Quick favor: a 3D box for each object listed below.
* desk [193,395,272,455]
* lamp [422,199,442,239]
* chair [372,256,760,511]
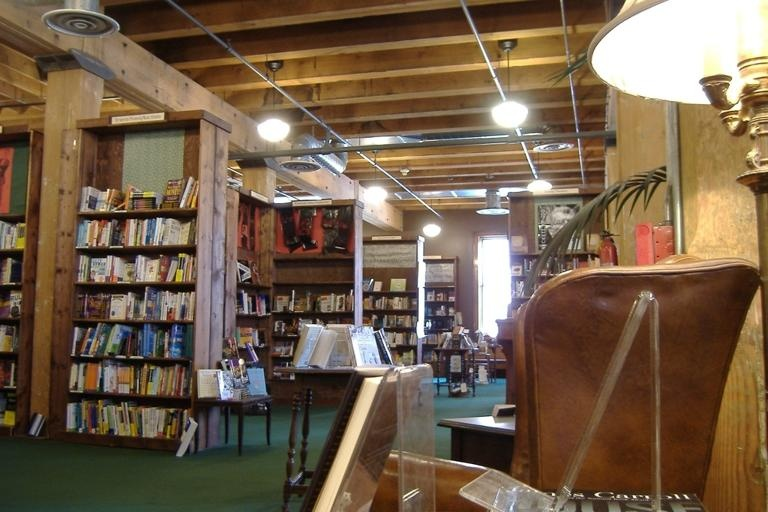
[{"bbox_3d":[-1.466,1.574,6.326,0.828,0.536,0.595,-5,-12,22],"label":"desk"},{"bbox_3d":[1.192,-0.897,16.567,0.527,0.779,1.359,-2,-6,4],"label":"lamp"},{"bbox_3d":[0.701,0.426,2.464,0.771,0.917,0.961,5,-6,-38],"label":"chair"}]
